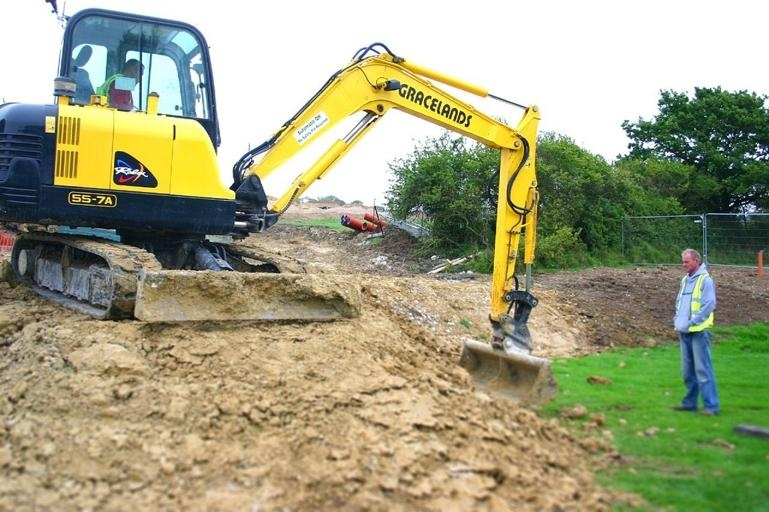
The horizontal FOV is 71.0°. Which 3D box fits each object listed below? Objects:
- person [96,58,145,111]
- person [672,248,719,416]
[{"bbox_3d":[-3.709,-2.471,7.855,0.718,0.814,0.699,1,8,-39],"label":"person"},{"bbox_3d":[4.107,0.974,7.035,0.522,2.015,0.935,3,11,11],"label":"person"}]
